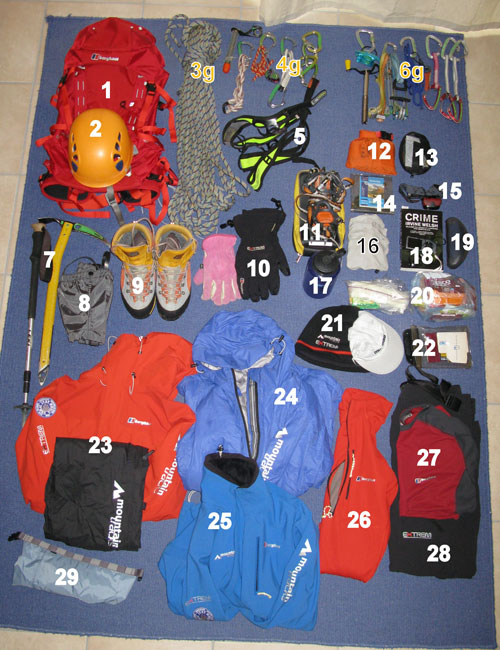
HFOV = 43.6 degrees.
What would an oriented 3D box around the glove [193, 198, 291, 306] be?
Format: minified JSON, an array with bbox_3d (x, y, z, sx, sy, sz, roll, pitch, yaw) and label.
[{"bbox_3d":[-0.025,-0.350,3.027,0.460,0.142,0.440,-11,75,7],"label":"glove"}]

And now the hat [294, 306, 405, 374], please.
[{"bbox_3d":[0.468,0.066,2.948,0.496,0.212,0.248,8,41,6],"label":"hat"}]

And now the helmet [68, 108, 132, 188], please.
[{"bbox_3d":[-0.699,-0.811,2.916,0.290,0.309,0.242,-6,42,-10],"label":"helmet"}]

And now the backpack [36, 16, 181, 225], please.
[{"bbox_3d":[-0.667,-1.020,2.874,0.741,0.973,0.335,4,-3,-7],"label":"backpack"}]
